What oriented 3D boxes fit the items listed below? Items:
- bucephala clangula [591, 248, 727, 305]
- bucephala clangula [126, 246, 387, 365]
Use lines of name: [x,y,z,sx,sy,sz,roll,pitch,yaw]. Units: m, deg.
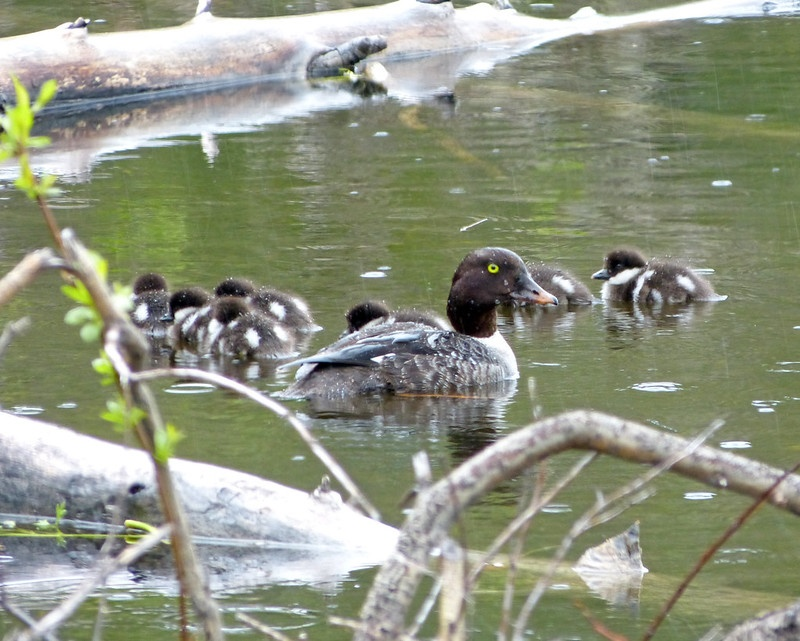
bucephala clangula: [1.944,-0.308,8.690,1.061,0.276,0.370,2,12,-8]
bucephala clangula: [-1.316,-0.060,7.883,1.524,0.424,0.682,8,15,28]
